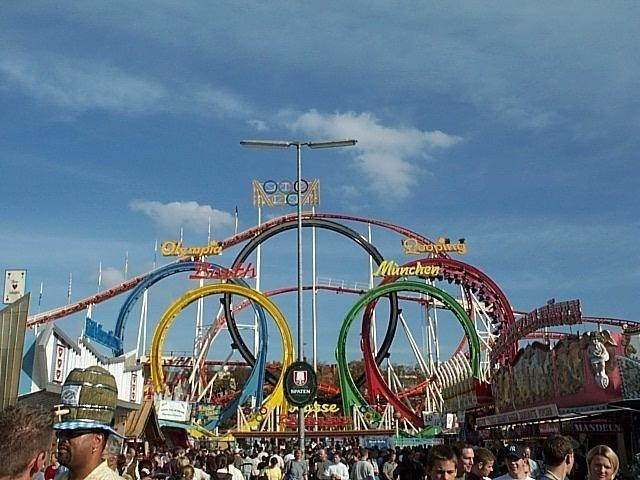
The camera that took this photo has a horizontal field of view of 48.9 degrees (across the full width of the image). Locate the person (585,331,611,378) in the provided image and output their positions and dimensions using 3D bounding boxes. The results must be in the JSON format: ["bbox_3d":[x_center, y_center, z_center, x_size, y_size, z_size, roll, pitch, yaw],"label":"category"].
[{"bbox_3d":[7.570,3.054,19.077,0.566,1.115,0.259,-9,-16,34],"label":"person"}]

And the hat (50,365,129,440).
[{"bbox_3d":[-1.852,1.297,5.543,0.507,0.529,0.535,-16,-25,40],"label":"hat"}]
